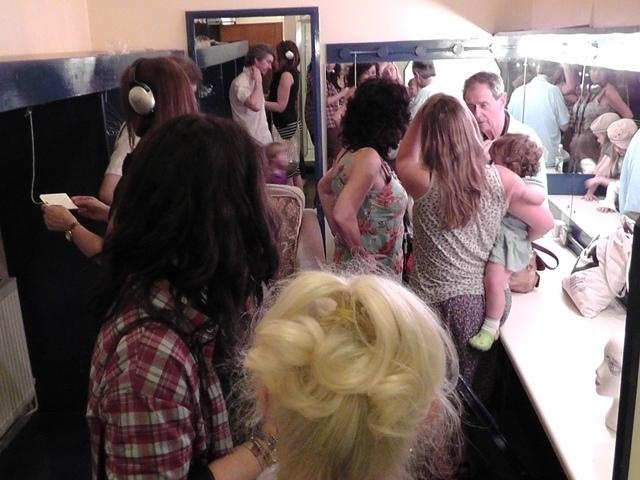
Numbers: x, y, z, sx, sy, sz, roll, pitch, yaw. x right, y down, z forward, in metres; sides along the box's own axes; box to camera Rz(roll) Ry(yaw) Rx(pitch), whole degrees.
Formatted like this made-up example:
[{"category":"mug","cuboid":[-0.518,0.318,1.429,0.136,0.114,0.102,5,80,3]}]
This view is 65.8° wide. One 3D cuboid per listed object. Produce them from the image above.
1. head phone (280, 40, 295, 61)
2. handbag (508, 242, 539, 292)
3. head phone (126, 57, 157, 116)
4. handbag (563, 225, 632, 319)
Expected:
[{"category":"head phone","cuboid":[-0.220,-1.326,3.396,0.046,0.088,0.119,-40,56,-9]},{"category":"handbag","cuboid":[0.800,0.104,1.962,0.087,0.189,0.140,-2,26,-1]},{"category":"head phone","cuboid":[-0.592,-0.515,1.644,0.074,0.145,0.186,-8,71,1]},{"category":"handbag","cuboid":[1.073,0.126,1.906,0.086,0.304,0.294,17,40,-19]}]
